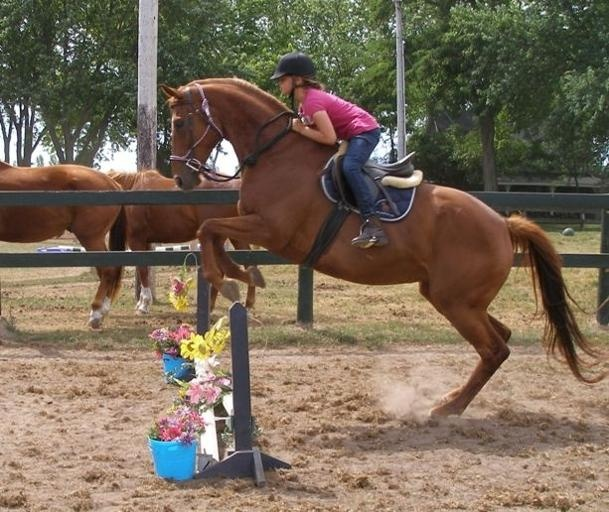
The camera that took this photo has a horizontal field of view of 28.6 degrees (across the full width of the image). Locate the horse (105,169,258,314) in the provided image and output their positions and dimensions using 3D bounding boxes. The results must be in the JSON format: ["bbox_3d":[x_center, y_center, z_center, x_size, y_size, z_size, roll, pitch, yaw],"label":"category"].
[{"bbox_3d":[-2.847,-0.527,26.773,5.222,3.742,1.410,-3,-6,15],"label":"horse"}]

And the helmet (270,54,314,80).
[{"bbox_3d":[-0.174,-3.589,22.502,0.642,0.379,0.473,2,10,-5],"label":"helmet"}]
